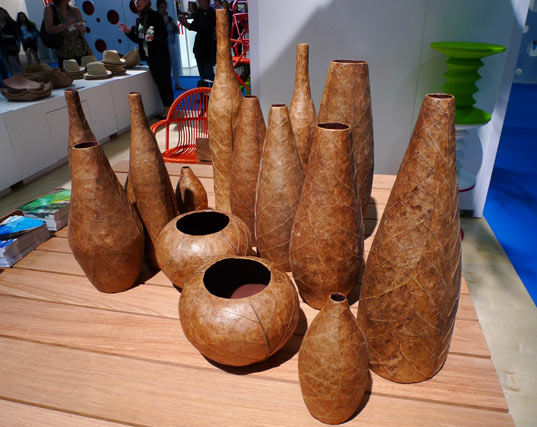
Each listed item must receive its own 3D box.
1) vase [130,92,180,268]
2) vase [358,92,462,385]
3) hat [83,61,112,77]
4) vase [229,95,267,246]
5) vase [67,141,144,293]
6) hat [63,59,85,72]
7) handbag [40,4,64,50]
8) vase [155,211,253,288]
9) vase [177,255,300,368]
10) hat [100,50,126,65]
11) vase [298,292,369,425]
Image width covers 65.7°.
[{"bbox_3d":[-0.354,-0.079,1.352,0.114,0.475,0.112,7,-3,21],"label":"vase"},{"bbox_3d":[0.335,0.088,0.953,0.206,0.658,0.195,-18,32,-30],"label":"vase"},{"bbox_3d":[-1.734,-1.445,4.192,0.194,0.076,0.198,28,38,24],"label":"hat"},{"bbox_3d":[-0.062,-0.153,1.383,0.126,0.468,0.134,-1,16,1],"label":"vase"},{"bbox_3d":[-0.481,0.026,1.214,0.203,0.444,0.149,-16,31,-27],"label":"vase"},{"bbox_3d":[-1.993,-1.520,4.271,0.204,0.112,0.176,-23,35,-35],"label":"hat"},{"bbox_3d":[-2.232,-1.905,4.262,0.195,0.431,0.367,-23,35,-37],"label":"handbag"},{"bbox_3d":[-0.225,0.123,1.283,0.294,0.187,0.271,19,20,32],"label":"vase"},{"bbox_3d":[-0.080,0.273,1.139,0.315,0.228,0.354,-10,20,-18],"label":"vase"},{"bbox_3d":[-1.719,-1.708,4.565,0.212,0.091,0.199,-4,29,-13],"label":"hat"},{"bbox_3d":[0.148,0.327,0.942,0.162,0.294,0.134,8,28,16],"label":"vase"}]
